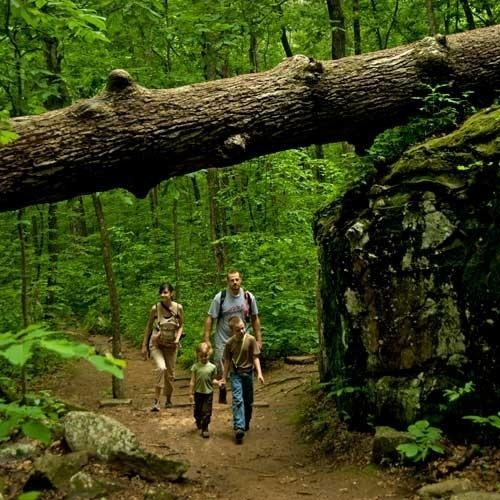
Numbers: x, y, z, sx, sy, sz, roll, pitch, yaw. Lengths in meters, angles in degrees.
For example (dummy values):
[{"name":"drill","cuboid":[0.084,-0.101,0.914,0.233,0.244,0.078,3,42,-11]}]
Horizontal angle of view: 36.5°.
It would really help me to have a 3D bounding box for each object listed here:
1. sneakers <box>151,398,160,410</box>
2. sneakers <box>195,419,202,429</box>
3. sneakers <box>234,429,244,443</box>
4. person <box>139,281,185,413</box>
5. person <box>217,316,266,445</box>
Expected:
[{"name":"sneakers","cuboid":[-1.343,2.188,10.798,0.106,0.171,0.247,-4,35,0]},{"name":"sneakers","cuboid":[-0.640,2.220,9.632,0.083,0.127,0.050,-11,7,21]},{"name":"sneakers","cuboid":[-0.127,2.295,9.387,0.096,0.145,0.077,6,1,-11]},{"name":"person","cuboid":[-1.242,1.384,10.809,0.564,1.898,0.841,-1,7,-5]},{"name":"person","cuboid":[-0.119,1.605,9.572,0.511,1.535,0.725,0,7,-2]}]
